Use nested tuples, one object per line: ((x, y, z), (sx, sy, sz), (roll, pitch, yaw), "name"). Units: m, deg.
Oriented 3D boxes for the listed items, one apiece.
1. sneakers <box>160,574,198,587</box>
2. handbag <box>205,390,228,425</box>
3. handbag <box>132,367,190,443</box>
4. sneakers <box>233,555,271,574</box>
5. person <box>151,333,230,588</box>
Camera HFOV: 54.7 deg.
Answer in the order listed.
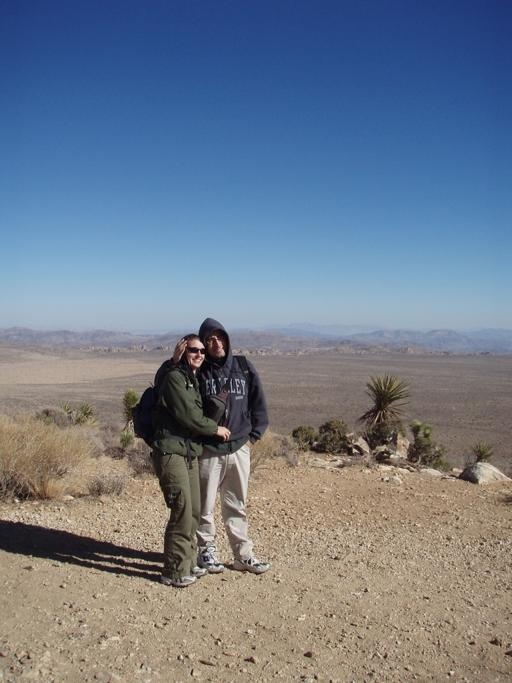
((-0.559, 1.671, 3.459), (0.205, 0.107, 0.090), (-3, 5, 1), "sneakers")
((-0.299, 0.497, 3.691), (0.140, 0.219, 0.118), (16, -29, -12), "handbag")
((-0.640, 0.523, 3.736), (0.508, 0.559, 0.386), (3, -6, -27), "handbag")
((-0.047, 1.720, 3.821), (0.233, 0.124, 0.117), (3, 1, 5), "sneakers")
((-0.508, 0.839, 3.618), (0.505, 1.788, 0.352), (3, -4, -14), "person")
